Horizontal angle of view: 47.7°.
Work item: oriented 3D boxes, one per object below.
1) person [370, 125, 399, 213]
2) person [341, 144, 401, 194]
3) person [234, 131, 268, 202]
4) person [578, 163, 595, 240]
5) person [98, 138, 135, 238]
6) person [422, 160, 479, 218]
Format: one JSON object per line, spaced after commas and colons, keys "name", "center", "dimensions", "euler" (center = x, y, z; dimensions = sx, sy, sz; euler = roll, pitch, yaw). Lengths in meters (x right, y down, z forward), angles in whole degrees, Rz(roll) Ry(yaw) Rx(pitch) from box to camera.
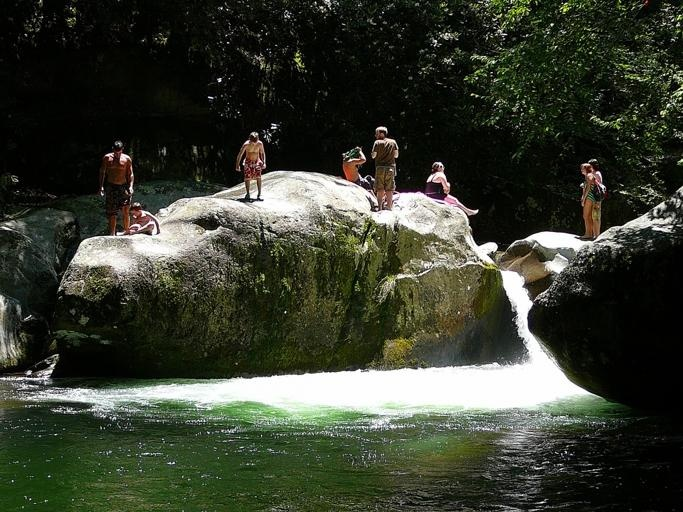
{"name": "person", "center": [0.806, -1.646, 14.534], "dimensions": [0.439, 1.551, 0.868], "euler": [1, 6, 4]}
{"name": "person", "center": [0.437, -1.675, 15.888], "dimensions": [0.650, 1.220, 0.521], "euler": [-23, 12, -15]}
{"name": "person", "center": [-1.631, -1.639, 13.947], "dimensions": [0.483, 1.213, 1.725], "euler": [0, 6, -8]}
{"name": "person", "center": [5.155, -1.115, 16.283], "dimensions": [0.293, 1.618, 0.946], "euler": [3, 6, 19]}
{"name": "person", "center": [-4.040, -1.218, 13.934], "dimensions": [0.532, 1.680, 1.479], "euler": [-1, 6, -17]}
{"name": "person", "center": [1.990, -1.414, 15.928], "dimensions": [0.597, 0.944, 1.246], "euler": [5, 14, -26]}
